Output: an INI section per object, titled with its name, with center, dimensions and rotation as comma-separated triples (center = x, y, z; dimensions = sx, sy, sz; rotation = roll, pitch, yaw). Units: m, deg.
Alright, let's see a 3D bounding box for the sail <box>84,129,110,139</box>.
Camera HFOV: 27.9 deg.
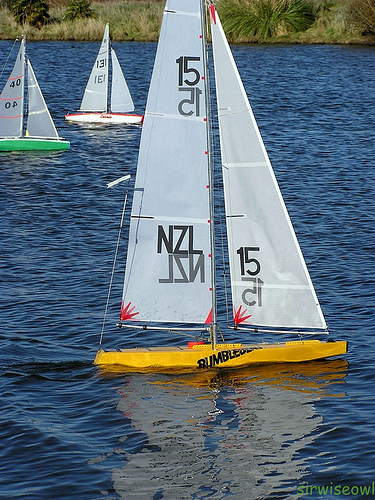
[sail]
center = -4.771, -6.148, 39.595
dimensions = 1.116, 0.227, 0.884
rotation = 1, 15, -10
